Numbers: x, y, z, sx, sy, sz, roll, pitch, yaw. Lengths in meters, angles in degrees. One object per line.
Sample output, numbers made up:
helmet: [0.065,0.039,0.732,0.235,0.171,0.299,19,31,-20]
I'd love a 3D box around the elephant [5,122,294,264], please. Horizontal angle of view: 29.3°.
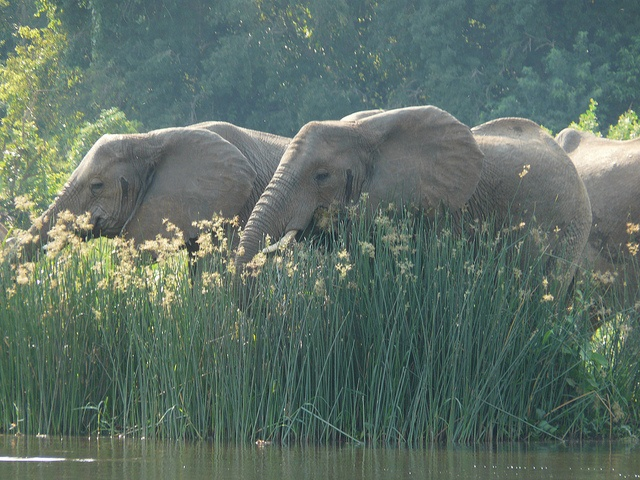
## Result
elephant: [-1.756,-0.720,14.899,2.715,1.944,1.484,-7,-8,0]
